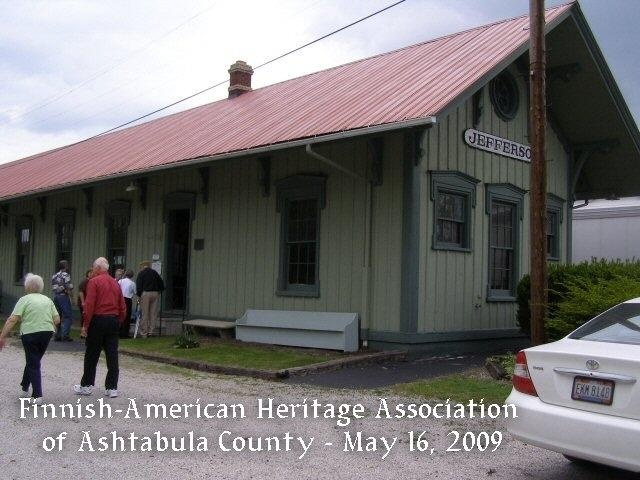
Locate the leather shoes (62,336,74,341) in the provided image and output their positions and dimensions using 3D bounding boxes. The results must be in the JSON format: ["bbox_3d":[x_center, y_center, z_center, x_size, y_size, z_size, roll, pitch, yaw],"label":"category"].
[{"bbox_3d":[-6.285,2.464,15.930,0.211,0.139,0.342,1,2,-19],"label":"leather shoes"}]

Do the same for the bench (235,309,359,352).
[{"bbox_3d":[-0.469,2.095,14.771,3.497,0.788,0.967,0,-1,34],"label":"bench"}]

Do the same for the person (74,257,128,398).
[{"bbox_3d":[-3.423,1.363,9.992,0.734,2.087,0.881,1,1,-19],"label":"person"}]

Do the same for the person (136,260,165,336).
[{"bbox_3d":[-4.610,1.667,17.217,0.678,1.858,0.627,0,1,-34],"label":"person"}]

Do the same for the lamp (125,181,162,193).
[{"bbox_3d":[-5.462,-1.594,19.291,0.780,0.289,2.220,1,2,-18],"label":"lamp"}]

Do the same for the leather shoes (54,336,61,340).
[{"bbox_3d":[-6.553,2.470,15.972,0.109,0.118,0.114,11,-22,-28],"label":"leather shoes"}]

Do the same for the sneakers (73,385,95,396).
[{"bbox_3d":[-3.649,2.339,9.906,0.297,0.168,0.121,2,-24,23],"label":"sneakers"}]

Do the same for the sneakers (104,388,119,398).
[{"bbox_3d":[-3.162,2.327,9.719,0.081,0.116,0.247,0,2,-30],"label":"sneakers"}]

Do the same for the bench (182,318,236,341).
[{"bbox_3d":[-2.722,2.268,16.467,0.744,0.490,1.788,0,2,-45],"label":"bench"}]
